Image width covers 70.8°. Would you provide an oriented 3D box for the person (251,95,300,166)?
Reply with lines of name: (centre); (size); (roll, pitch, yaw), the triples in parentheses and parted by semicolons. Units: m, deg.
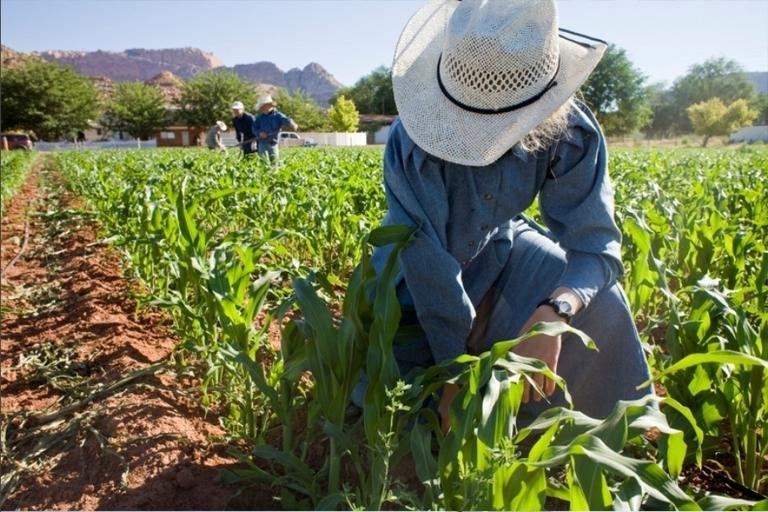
person: (-1.938, -2.252, 9.398); (0.648, 1.103, 1.701); (0, 14, -14)
